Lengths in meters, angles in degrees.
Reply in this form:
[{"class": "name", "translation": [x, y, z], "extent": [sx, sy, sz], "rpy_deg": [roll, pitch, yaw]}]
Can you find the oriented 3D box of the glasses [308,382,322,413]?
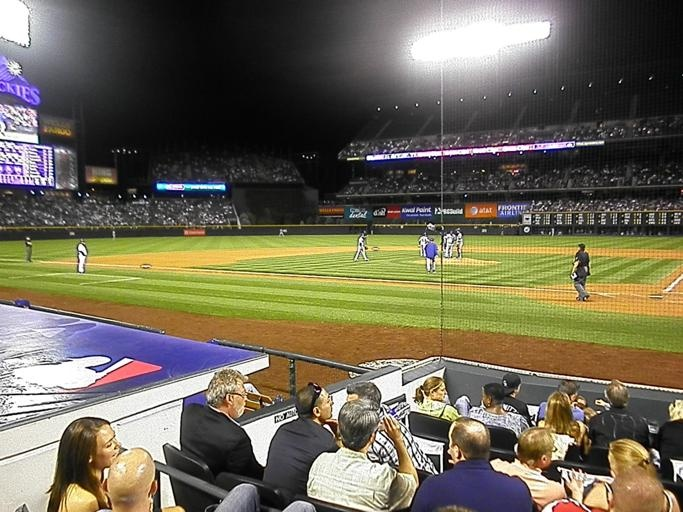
[{"class": "glasses", "translation": [-0.221, 1.253, 4.232], "extent": [0.053, 0.180, 0.174], "rpy_deg": [3, -4, -11]}]
